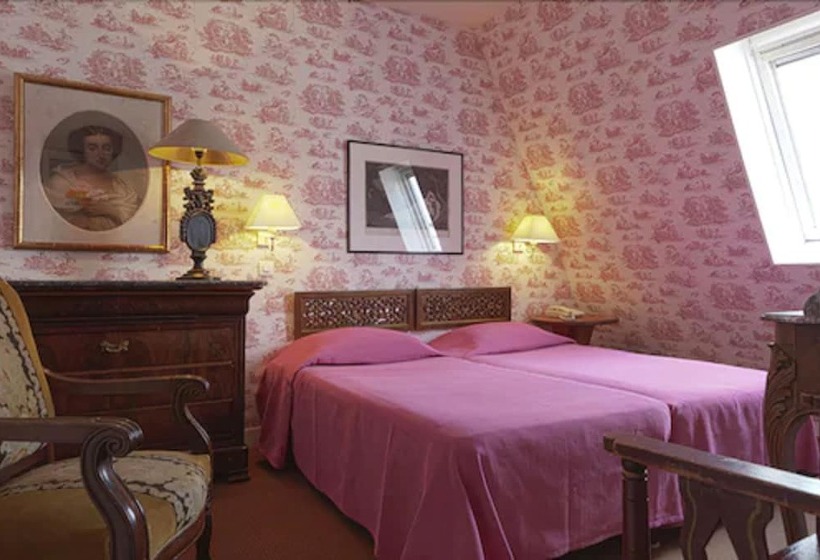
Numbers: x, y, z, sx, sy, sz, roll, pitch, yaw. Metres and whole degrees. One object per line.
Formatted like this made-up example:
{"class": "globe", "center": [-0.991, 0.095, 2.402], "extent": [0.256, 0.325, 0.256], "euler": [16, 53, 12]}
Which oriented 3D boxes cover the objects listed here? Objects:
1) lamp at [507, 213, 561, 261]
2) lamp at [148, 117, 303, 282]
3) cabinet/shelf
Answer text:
{"class": "lamp", "center": [1.188, -0.354, 5.286], "extent": [0.498, 0.378, 0.464], "euler": [1, -5, -39]}
{"class": "lamp", "center": [-1.291, -0.504, 3.896], "extent": [0.591, 0.884, 0.899], "euler": [-2, 1, 23]}
{"class": "cabinet/shelf", "center": [-1.478, 0.501, 2.946], "extent": [1.641, 1.123, 0.599], "euler": [0, -2, -29]}
